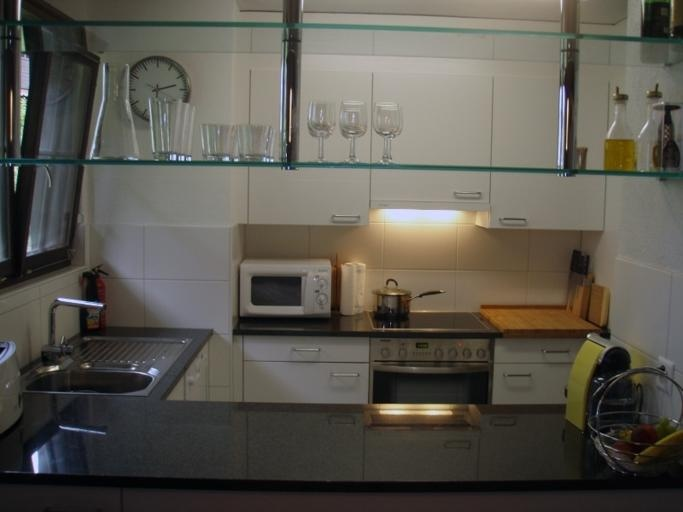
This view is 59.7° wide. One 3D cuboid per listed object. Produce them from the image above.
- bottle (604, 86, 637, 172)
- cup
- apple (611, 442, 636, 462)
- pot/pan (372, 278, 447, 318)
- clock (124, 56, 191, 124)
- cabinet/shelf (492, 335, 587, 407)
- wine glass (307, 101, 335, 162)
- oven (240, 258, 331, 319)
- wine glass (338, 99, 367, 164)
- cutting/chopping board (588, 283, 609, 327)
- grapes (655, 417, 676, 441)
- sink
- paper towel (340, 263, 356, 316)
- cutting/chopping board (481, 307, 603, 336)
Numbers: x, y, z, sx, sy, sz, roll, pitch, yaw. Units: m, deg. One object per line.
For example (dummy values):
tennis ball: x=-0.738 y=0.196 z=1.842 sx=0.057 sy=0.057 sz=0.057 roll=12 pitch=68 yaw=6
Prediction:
bottle: x=0.946 y=-0.425 z=2.014 sx=0.104 sy=0.284 sz=0.243 roll=3 pitch=7 yaw=26
cup: x=-0.423 y=-0.375 z=1.927 sx=0.300 sy=0.160 sz=0.230 roll=1 pitch=5 yaw=0
apple: x=0.881 y=0.604 z=1.868 sx=0.048 sy=0.055 sz=0.052 roll=26 pitch=-7 yaw=41
pot/pan: x=0.452 y=0.270 z=3.966 sx=0.428 sy=0.253 sz=0.240 roll=1 pitch=1 yaw=4
clock: x=-0.637 y=-0.560 z=2.028 sx=0.045 sy=0.232 sz=0.219 roll=4 pitch=1 yaw=36
cabinet/shelf: x=1.180 y=0.697 z=3.626 sx=0.622 sy=0.486 sz=0.397 roll=0 pitch=0 yaw=1
wine glass: x=-0.067 y=-0.414 z=2.004 sx=0.092 sy=0.198 sz=0.176 roll=0 pitch=7 yaw=-2
oven: x=-0.354 y=0.216 z=3.742 sx=0.502 sy=0.352 sz=0.340 roll=0 pitch=0 yaw=-1
wine glass: x=0.041 y=-0.418 z=2.021 sx=0.096 sy=0.210 sz=0.219 roll=1 pitch=7 yaw=8
cutting/chopping board: x=1.631 y=0.308 z=3.808 sx=0.047 sy=0.218 sz=0.188 roll=5 pitch=-8 yaw=-11
grapes: x=1.026 y=0.535 z=1.894 sx=0.065 sy=0.088 sz=0.032 roll=1 pitch=13 yaw=7
sink: x=-1.174 y=0.611 z=2.849 sx=0.547 sy=0.138 sz=0.236 roll=-1 pitch=8 yaw=-16
paper towel: x=0.043 y=0.225 z=3.893 sx=0.094 sy=0.342 sz=0.046 roll=1 pitch=6 yaw=6
cutting/chopping board: x=1.272 y=0.421 z=3.873 sx=0.666 sy=0.069 sz=0.564 roll=1 pitch=8 yaw=0
